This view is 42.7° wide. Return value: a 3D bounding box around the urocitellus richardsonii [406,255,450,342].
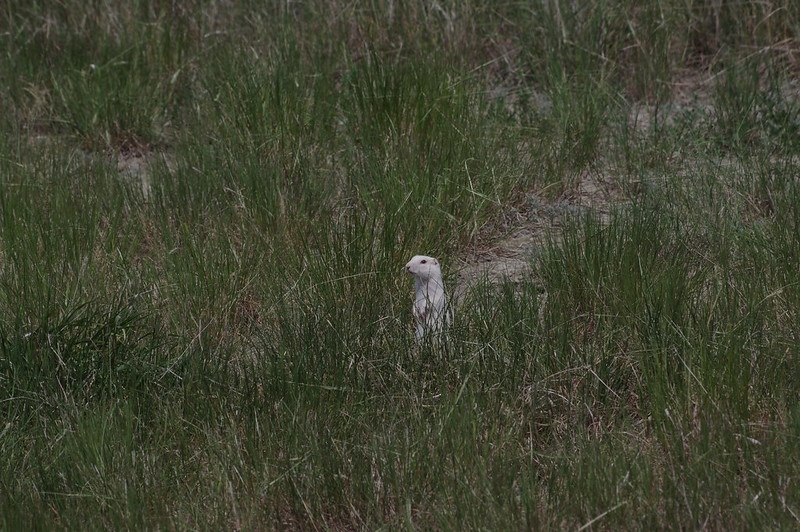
[{"bbox_3d":[0.135,0.173,5.189,0.158,0.137,0.396,12,46,-7],"label":"urocitellus richardsonii"}]
